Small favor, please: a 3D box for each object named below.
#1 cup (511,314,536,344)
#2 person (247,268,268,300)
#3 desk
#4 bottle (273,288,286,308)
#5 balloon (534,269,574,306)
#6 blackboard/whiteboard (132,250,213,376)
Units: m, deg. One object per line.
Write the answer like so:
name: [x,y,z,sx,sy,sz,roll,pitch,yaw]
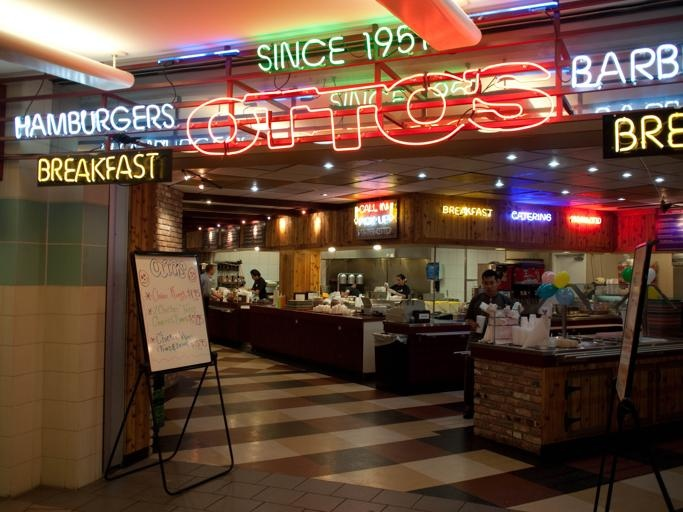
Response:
cup: [1.958,0.815,6.025,0.368,0.317,0.254,-1,1,1]
person: [-2.008,0.696,13.680,0.330,0.684,1.098,0,1,-11]
desk: [2.773,1.472,6.116,2.479,1.060,1.002,0,1,-12]
bottle: [-1.353,0.945,12.273,0.198,0.443,0.357,7,-14,-35]
balloon: [2.395,0.386,6.346,0.473,0.404,0.180,9,-20,-1]
blackboard/whiteboard: [-1.589,0.524,5.351,0.308,1.115,0.742,1,1,40]
